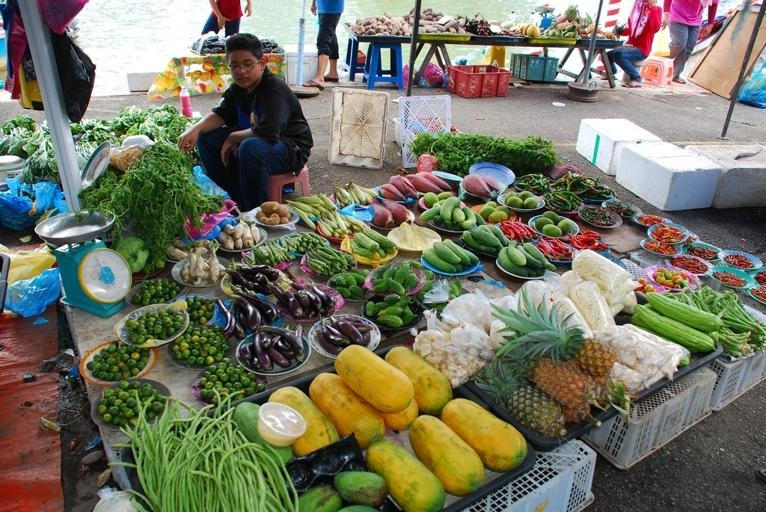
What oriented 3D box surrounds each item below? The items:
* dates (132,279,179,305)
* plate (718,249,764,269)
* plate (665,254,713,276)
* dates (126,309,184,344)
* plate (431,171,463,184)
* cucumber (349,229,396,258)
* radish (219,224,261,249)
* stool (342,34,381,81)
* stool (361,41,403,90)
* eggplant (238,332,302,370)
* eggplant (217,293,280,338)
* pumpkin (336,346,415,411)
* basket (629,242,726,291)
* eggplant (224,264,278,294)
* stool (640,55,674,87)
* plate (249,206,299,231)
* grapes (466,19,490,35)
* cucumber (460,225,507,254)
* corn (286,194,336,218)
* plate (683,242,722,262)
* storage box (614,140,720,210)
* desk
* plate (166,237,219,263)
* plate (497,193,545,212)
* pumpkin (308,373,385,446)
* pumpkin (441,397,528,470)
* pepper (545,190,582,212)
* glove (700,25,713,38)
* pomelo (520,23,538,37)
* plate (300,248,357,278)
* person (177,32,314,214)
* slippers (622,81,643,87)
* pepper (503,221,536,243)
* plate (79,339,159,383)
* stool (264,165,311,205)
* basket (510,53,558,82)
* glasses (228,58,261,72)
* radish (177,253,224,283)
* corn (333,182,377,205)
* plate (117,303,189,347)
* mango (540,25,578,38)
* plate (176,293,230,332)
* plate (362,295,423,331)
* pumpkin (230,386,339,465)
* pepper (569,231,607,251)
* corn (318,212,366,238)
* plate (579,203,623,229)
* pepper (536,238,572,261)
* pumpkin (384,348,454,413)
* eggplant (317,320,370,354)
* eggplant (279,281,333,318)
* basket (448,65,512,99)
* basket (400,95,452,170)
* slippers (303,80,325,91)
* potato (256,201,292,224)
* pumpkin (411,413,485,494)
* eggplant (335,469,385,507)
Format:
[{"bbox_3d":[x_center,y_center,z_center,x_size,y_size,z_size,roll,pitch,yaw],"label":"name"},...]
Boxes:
[{"bbox_3d":[-1.920,0.315,4.304,0.377,0.143,0.217,0,29,-4],"label":"dates"},{"bbox_3d":[3.578,0.045,5.134,0.421,0.056,0.358,-14,33,-28],"label":"plate"},{"bbox_3d":[3.043,0.094,5.025,0.247,0.041,0.248,19,35,33],"label":"plate"},{"bbox_3d":[-1.736,0.550,3.911,0.285,0.099,0.295,20,30,34],"label":"dates"},{"bbox_3d":[0.792,-0.968,6.322,0.368,0.109,0.417,5,29,5],"label":"plate"},{"bbox_3d":[-0.101,-0.118,4.825,0.325,0.112,0.243,29,35,24],"label":"cucumber"},{"bbox_3d":[-1.372,-0.175,4.894,0.260,0.124,0.318,-13,18,-27],"label":"radish"},{"bbox_3d":[-0.448,-4.782,12.161,1.012,1.154,1.196,-1,46,-6],"label":"stool"},{"bbox_3d":[0.035,-4.426,11.746,0.918,0.987,1.502,1,29,-2],"label":"stool"},{"bbox_3d":[-0.803,0.695,3.735,0.328,0.121,0.322,21,37,12],"label":"eggplant"},{"bbox_3d":[-1.102,0.432,4.056,0.315,0.133,0.402,-29,46,-25],"label":"eggplant"},{"bbox_3d":[-0.067,0.811,3.411,0.560,0.268,0.263,27,76,26],"label":"pumpkin"},{"bbox_3d":[2.973,0.017,5.152,0.602,0.155,0.602,-25,36,-31],"label":"basket"},{"bbox_3d":[-1.106,0.192,4.283,0.400,0.134,0.219,14,43,25],"label":"eggplant"},{"bbox_3d":[7.185,-4.842,13.386,0.585,0.626,0.679,-39,60,-22],"label":"stool"},{"bbox_3d":[-1.119,-0.379,5.304,0.499,0.180,0.375,-9,31,-19],"label":"plate"},{"bbox_3d":[2.259,-5.374,11.918,0.600,0.359,0.704,0,29,-4],"label":"grapes"},{"bbox_3d":[0.988,-0.172,5.020,0.352,0.127,0.275,18,38,41],"label":"cucumber"},{"bbox_3d":[-0.761,-0.552,5.466,0.384,0.124,0.279,17,25,24],"label":"corn"},{"bbox_3d":[3.291,-0.096,5.262,0.259,0.074,0.249,1,27,3],"label":"plate"},{"bbox_3d":[3.851,-1.092,6.905,0.880,0.647,0.959,-8,31,-17],"label":"storage box"},{"bbox_3d":[3.379,-4.772,12.509,3.909,0.914,1.537,-1,41,-5],"label":"desk"},{"bbox_3d":[-1.766,-0.037,4.736,0.397,0.115,0.222,-6,29,-4],"label":"plate"},{"bbox_3d":[1.580,-0.619,5.830,0.324,0.117,0.332,6,26,16],"label":"plate"},{"bbox_3d":[-0.273,1.016,3.469,0.601,0.252,0.261,36,41,27],"label":"pumpkin"},{"bbox_3d":[0.634,1.122,3.337,0.284,0.259,0.574,-12,34,-43],"label":"pumpkin"},{"bbox_3d":[2.085,-0.631,5.931,0.309,0.125,0.297,-3,29,-4],"label":"pepper"},{"bbox_3d":[8.892,-6.166,14.027,0.290,0.364,0.358,13,12,37],"label":"glove"},{"bbox_3d":[3.494,-5.375,12.159,0.424,0.254,0.393,11,30,16],"label":"pomelo"},{"bbox_3d":[-0.504,0.057,4.639,0.346,0.133,0.304,23,32,34],"label":"plate"},{"bbox_3d":[-1.571,-1.561,6.045,1.154,1.995,0.985,17,33,25],"label":"person"},{"bbox_3d":[6.447,-4.429,13.146,0.508,0.133,0.210,0,24,-4],"label":"slippers"},{"bbox_3d":[1.380,-0.245,5.235,0.198,0.084,0.300,23,18,17],"label":"pepper"},{"bbox_3d":[-1.938,0.769,3.688,0.362,0.115,0.346,3,31,-12],"label":"plate"},{"bbox_3d":[-1.229,-0.842,6.443,0.521,0.398,0.500,-18,35,-24],"label":"stool"},{"bbox_3d":[3.984,-4.898,13.639,1.044,0.614,1.002,-7,29,-12],"label":"basket"},{"bbox_3d":[-1.519,-2.095,5.620,0.314,0.128,0.114,-6,31,-14],"label":"glasses"},{"bbox_3d":[-1.592,0.130,4.534,0.283,0.123,0.275,20,-7,3],"label":"radish"},{"bbox_3d":[-0.334,-0.720,5.983,0.320,0.127,0.423,-4,29,-14],"label":"corn"},{"bbox_3d":[-1.729,0.532,3.944,0.376,0.106,0.371,18,35,21],"label":"plate"},{"bbox_3d":[4.267,-5.394,12.287,0.629,0.248,0.453,9,29,23],"label":"mango"},{"bbox_3d":[-1.446,0.449,4.122,0.315,0.101,0.321,39,29,31],"label":"plate"},{"bbox_3d":[0.086,0.453,4.071,0.497,0.219,0.276,0,29,-5],"label":"plate"},{"bbox_3d":[-0.610,1.095,3.229,0.463,0.188,0.379,22,24,-13],"label":"pumpkin"},{"bbox_3d":[2.102,-0.149,5.241,0.239,0.097,0.237,11,28,22],"label":"pepper"},{"bbox_3d":[-0.478,-0.328,5.266,0.296,0.118,0.399,-21,39,-34],"label":"corn"},{"bbox_3d":[2.424,-0.429,5.755,0.335,0.074,0.324,-13,41,-28],"label":"plate"},{"bbox_3d":[1.691,-0.051,5.018,0.255,0.081,0.247,10,31,3],"label":"pepper"},{"bbox_3d":[0.261,0.855,3.640,0.257,0.253,0.544,-16,42,-36],"label":"pumpkin"},{"bbox_3d":[-0.308,0.550,3.832,0.282,0.097,0.275,7,26,-25],"label":"eggplant"},{"bbox_3d":[-0.626,0.376,4.079,0.236,0.157,0.393,-9,23,-40],"label":"eggplant"},{"bbox_3d":[2.229,-4.018,11.648,1.170,0.462,0.852,-10,37,-17],"label":"basket"},{"bbox_3d":[0.578,-1.936,7.806,0.664,0.921,1.190,18,33,26],"label":"basket"},{"bbox_3d":[-1.502,-3.709,11.093,0.381,0.118,0.201,2,22,-21],"label":"slippers"},{"bbox_3d":[-1.127,-0.430,5.245,0.260,0.144,0.267,4,25,-7],"label":"potato"},{"bbox_3d":[0.374,1.222,3.239,0.278,0.272,0.538,-33,48,-25],"label":"pumpkin"},{"bbox_3d":[-0.121,1.358,2.965,0.278,0.163,0.149,11,64,3],"label":"eggplant"}]
